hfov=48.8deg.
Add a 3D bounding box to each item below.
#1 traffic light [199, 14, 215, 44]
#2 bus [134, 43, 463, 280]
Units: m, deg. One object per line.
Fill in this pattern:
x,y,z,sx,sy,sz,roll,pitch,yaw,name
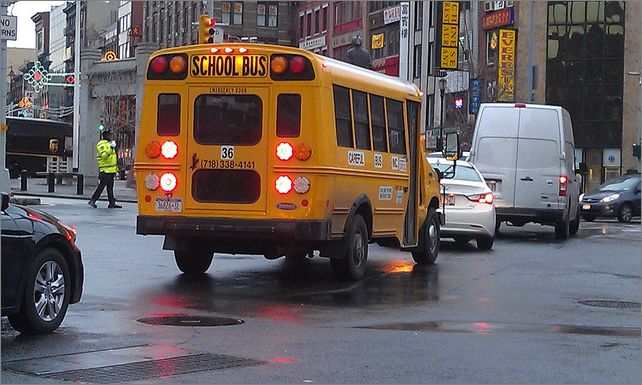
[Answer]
-3.827,-5.475,23.561,0.463,1.198,1.627,1,3,-9,traffic light
-0.228,-0.611,13.766,3.753,2.879,5.369,0,0,29,bus
